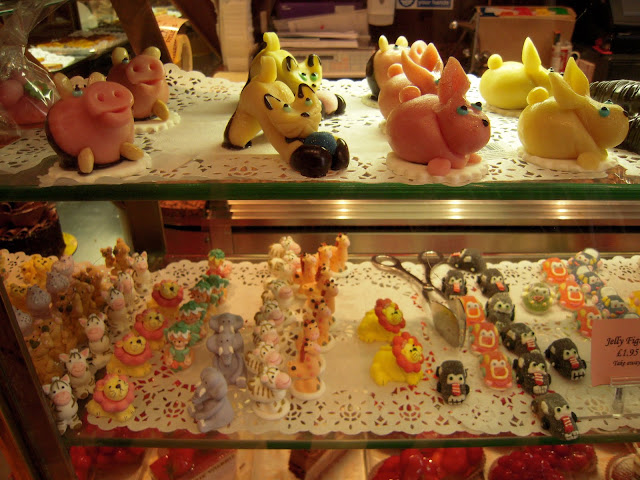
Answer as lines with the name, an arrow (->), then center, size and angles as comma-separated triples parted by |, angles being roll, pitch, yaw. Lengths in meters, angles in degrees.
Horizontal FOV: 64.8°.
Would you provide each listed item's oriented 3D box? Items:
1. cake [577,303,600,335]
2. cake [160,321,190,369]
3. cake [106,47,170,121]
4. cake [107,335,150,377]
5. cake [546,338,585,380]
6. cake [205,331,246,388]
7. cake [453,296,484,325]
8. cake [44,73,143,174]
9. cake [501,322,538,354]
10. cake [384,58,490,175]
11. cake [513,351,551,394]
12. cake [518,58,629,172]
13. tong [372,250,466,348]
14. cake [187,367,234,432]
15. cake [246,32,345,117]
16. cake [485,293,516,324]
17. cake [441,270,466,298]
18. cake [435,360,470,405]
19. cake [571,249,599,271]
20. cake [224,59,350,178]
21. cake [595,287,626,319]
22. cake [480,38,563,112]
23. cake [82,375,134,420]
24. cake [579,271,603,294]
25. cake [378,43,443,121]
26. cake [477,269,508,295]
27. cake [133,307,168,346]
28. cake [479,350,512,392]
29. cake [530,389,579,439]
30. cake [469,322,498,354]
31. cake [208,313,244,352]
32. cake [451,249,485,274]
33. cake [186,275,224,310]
cake -> 0.687, 0.202, 1.287 | 0.071, 0.081, 0.046 | 2, -4, 1
cake -> -0.350, 0.262, 1.258 | 0.074, 0.127, 0.068 | 0, 9, -17
cake -> -0.397, -0.360, 1.168 | 0.098, 0.158, 0.221 | -1, 55, -16
cake -> -0.465, 0.288, 1.248 | 0.105, 0.112, 0.106 | -2, 76, -3
cake -> 0.615, 0.286, 1.257 | 0.081, 0.058, 0.114 | -6, 23, -1
cake -> -0.222, 0.285, 1.216 | 0.091, 0.139, 0.087 | -7, 16, -19
cake -> 0.408, 0.183, 1.347 | 0.059, 0.077, 0.087 | -3, 67, -5
cake -> -0.473, -0.246, 1.059 | 0.181, 0.177, 0.177 | 14, 21, 35
cake -> 0.520, 0.250, 1.306 | 0.080, 0.060, 0.118 | -3, 15, -5
cake -> 0.242, -0.258, 1.040 | 0.214, 0.221, 0.161 | 15, 29, 35
cake -> 0.518, 0.312, 1.221 | 0.087, 0.054, 0.122 | 3, 29, 10
cake -> 0.519, -0.259, 1.039 | 0.203, 0.206, 0.141 | 10, 30, 37
tong -> 0.247, 0.148, 1.484 | 0.086, 0.122, 0.492 | -12, 26, -16
cake -> -0.239, 0.359, 1.187 | 0.115, 0.131, 0.123 | -1, 12, -27
cake -> -0.064, -0.401, 1.242 | 0.143, 0.138, 0.245 | -28, 50, -36
cake -> 0.499, 0.180, 1.383 | 0.087, 0.040, 0.125 | 8, 35, 19
cake -> 0.382, 0.122, 1.421 | 0.052, 0.027, 0.077 | 1, 44, 7
cake -> 0.316, 0.327, 1.193 | 0.079, 0.041, 0.118 | 3, 32, 5
cake -> 0.799, 0.056, 1.516 | 0.058, 0.032, 0.082 | 29, 48, 33
cake -> -0.086, -0.278, 1.077 | 0.139, 0.202, 0.316 | -28, 45, -31
cake -> 0.801, 0.181, 1.372 | 0.082, 0.062, 0.122 | -3, 11, 16
cake -> 0.490, -0.417, 1.254 | 0.171, 0.166, 0.136 | 3, 29, 6
cake -> -0.478, 0.349, 1.156 | 0.095, 0.073, 0.098 | 23, 32, 26
cake -> 0.781, 0.120, 1.448 | 0.047, 0.051, 0.063 | 8, 14, -11
cake -> 0.213, -0.356, 1.180 | 0.131, 0.188, 0.139 | 27, 43, 30
cake -> 0.492, 0.120, 1.442 | 0.057, 0.044, 0.083 | -5, 29, -4
cake -> -0.435, 0.217, 1.339 | 0.077, 0.082, 0.084 | 11, 21, 28
cake -> 0.430, 0.306, 1.233 | 0.075, 0.038, 0.117 | 1, 32, 4
cake -> 0.529, 0.384, 1.128 | 0.081, 0.045, 0.119 | -8, 26, -9
cake -> 0.428, 0.252, 1.312 | 0.074, 0.077, 0.082 | 7, 11, 28
cake -> -0.228, 0.220, 1.222 | 0.071, 0.045, 0.101 | 1, 66, -5
cake -> 0.444, 0.064, 1.515 | 0.095, 0.043, 0.063 | 11, 41, 7
cake -> -0.312, 0.131, 1.386 | 0.087, 0.053, 0.085 | 13, 21, 38
